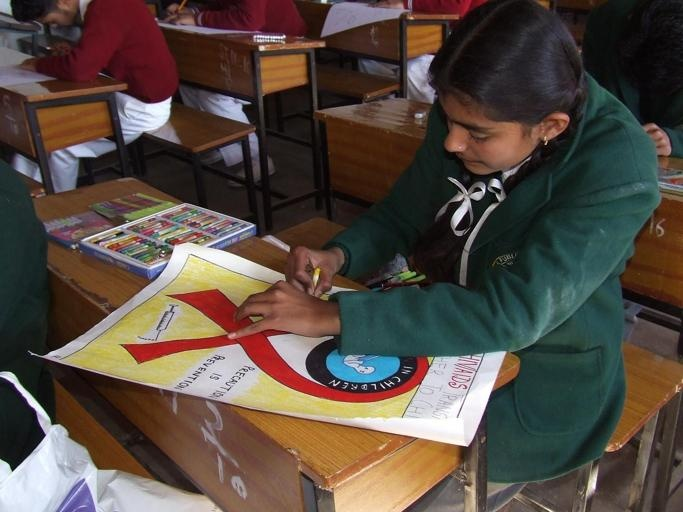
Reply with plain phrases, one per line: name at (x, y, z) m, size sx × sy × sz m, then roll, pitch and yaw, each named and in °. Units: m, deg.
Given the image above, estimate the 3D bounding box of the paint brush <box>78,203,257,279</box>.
paint brush at (-0.380, -0.043, 1.170) m, size 0.207 × 0.022 × 0.246 m, roll 19°, pitch 30°, yaw 35°
